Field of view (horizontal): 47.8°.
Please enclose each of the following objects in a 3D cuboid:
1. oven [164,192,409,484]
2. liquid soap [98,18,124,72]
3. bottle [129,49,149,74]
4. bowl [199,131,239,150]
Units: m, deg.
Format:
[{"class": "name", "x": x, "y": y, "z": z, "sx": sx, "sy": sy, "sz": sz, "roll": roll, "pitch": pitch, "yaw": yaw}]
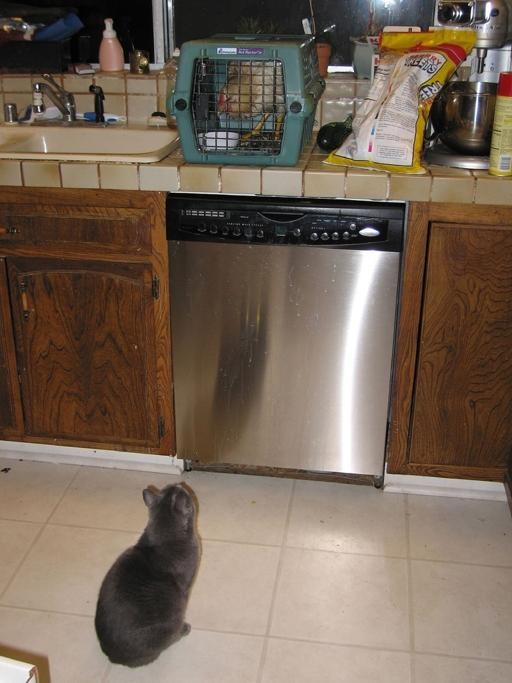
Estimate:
[{"class": "oven", "x": 0.097, "y": -0.057, "z": 1.757, "sx": 0.524, "sy": 0.763, "sz": 0.571, "roll": 3, "pitch": 25, "yaw": 6}, {"class": "liquid soap", "x": -0.508, "y": -1.029, "z": 2.005, "sx": 0.082, "sy": 0.168, "sz": 0.132, "roll": -6, "pitch": 24, "yaw": -12}, {"class": "bottle", "x": -0.401, "y": -0.962, "z": 1.984, "sx": 0.065, "sy": 0.076, "sz": 0.113, "roll": -5, "pitch": 24, "yaw": -11}, {"class": "bowl", "x": -0.096, "y": -0.515, "z": 1.466, "sx": 0.085, "sy": 0.027, "sz": 0.059, "roll": -19, "pitch": 31, "yaw": -38}]
